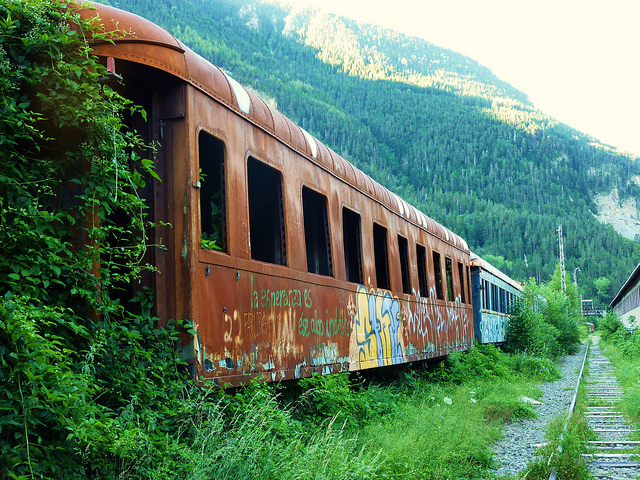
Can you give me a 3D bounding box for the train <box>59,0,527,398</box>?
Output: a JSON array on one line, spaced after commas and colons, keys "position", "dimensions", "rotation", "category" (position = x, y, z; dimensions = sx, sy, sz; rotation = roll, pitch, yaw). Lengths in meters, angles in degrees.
[{"position": [-0.013, 0.085, 8.148], "dimensions": [0.587, 3.991, 8.217], "rotation": [-9, -10, 27], "category": "train"}]
